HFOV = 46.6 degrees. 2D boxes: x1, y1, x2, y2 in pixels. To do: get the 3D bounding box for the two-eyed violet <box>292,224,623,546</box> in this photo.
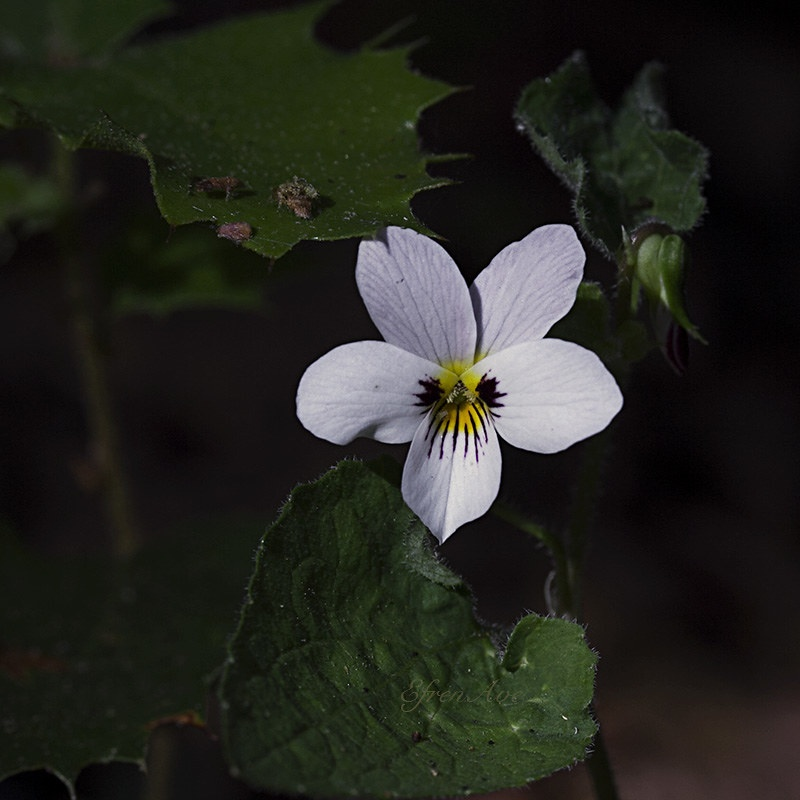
[{"bbox_3d":[0.053,-0.023,0.962,0.319,0.260,0.244,-1,43,-6],"label":"two-eyed violet"}]
